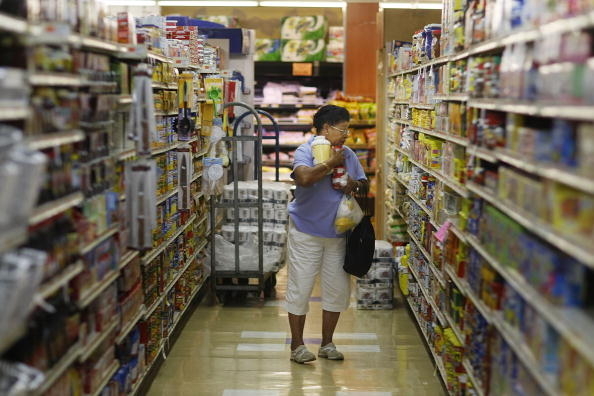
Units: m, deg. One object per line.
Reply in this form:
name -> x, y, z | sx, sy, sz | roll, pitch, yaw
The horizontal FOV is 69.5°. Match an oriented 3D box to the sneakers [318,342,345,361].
sneakers -> 0.326, 1.485, 4.181 | 0.123, 0.123, 0.253 | 2, -3, -42

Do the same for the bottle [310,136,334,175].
bottle -> 0.226, -0.381, 3.750 | 0.184, 0.315, 0.256 | -1, 10, -7

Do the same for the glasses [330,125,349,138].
glasses -> 0.387, -0.609, 3.867 | 0.110, 0.034, 0.109 | 28, 11, 29

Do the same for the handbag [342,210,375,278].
handbag -> 0.535, 0.406, 3.841 | 0.253, 0.640, 0.551 | 9, -5, 8

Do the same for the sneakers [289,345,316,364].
sneakers -> 0.046, 1.482, 4.087 | 0.124, 0.116, 0.252 | 3, -5, -41

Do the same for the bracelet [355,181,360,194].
bracelet -> 0.558, -0.098, 3.959 | 0.063, 0.081, 0.040 | -2, -14, -9
